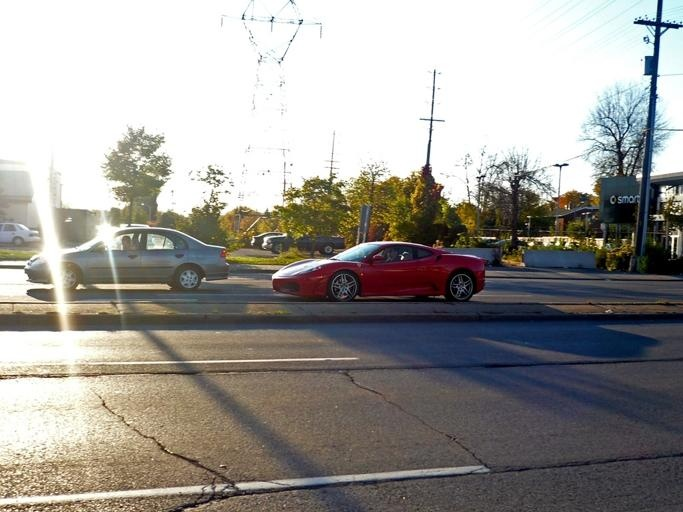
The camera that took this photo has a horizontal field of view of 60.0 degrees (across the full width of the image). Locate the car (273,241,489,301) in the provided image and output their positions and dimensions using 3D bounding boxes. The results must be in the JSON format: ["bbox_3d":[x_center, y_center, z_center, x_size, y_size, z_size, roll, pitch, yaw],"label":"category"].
[{"bbox_3d":[1.076,0.490,14.779,4.233,0.983,2.077,3,-4,-14],"label":"car"}]

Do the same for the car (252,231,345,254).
[{"bbox_3d":[-2.939,-1.331,45.163,5.297,1.195,2.380,2,-1,4],"label":"car"}]
